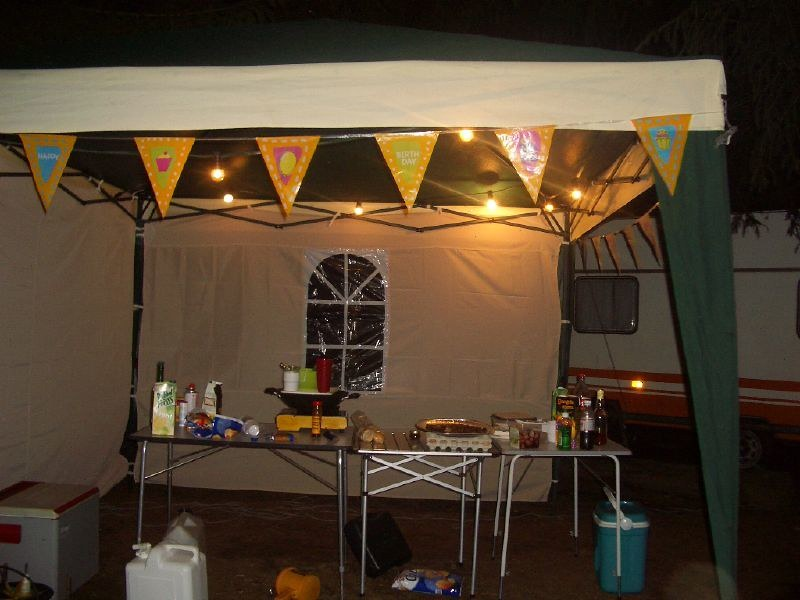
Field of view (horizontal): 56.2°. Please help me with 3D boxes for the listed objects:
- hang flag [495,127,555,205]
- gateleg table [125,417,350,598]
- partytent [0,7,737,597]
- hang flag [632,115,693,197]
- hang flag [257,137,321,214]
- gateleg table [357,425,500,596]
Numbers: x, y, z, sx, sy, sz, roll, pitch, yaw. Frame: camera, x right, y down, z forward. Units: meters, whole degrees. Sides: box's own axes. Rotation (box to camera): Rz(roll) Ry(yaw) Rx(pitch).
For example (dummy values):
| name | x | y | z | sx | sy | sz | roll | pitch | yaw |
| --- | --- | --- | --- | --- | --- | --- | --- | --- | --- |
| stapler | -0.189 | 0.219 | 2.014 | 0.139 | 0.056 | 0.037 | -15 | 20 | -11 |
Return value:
| name | x | y | z | sx | sy | sz | roll | pitch | yaw |
| --- | --- | --- | --- | --- | --- | --- | --- | --- | --- |
| hang flag | 0.958 | -1.044 | 5.746 | 0.560 | 0.660 | 0.028 | -2 | 6 | 11 |
| gateleg table | -1.210 | 1.927 | 6.337 | 2.257 | 1.459 | 1.219 | 0 | -8 | 6 |
| partytent | 0.454 | -0.060 | 7.075 | 4.184 | 2.661 | 4.152 | 0 | -3 | 4 |
| hang flag | 1.767 | -0.996 | 5.008 | 0.309 | 0.499 | 0.012 | -7 | 2 | 17 |
| hang flag | -0.881 | -0.995 | 5.901 | 0.633 | 0.732 | 0.036 | 0 | 5 | 6 |
| gateleg table | 0.214 | 1.711 | 6.351 | 1.314 | 1.229 | 1.210 | 1 | 2 | 0 |
